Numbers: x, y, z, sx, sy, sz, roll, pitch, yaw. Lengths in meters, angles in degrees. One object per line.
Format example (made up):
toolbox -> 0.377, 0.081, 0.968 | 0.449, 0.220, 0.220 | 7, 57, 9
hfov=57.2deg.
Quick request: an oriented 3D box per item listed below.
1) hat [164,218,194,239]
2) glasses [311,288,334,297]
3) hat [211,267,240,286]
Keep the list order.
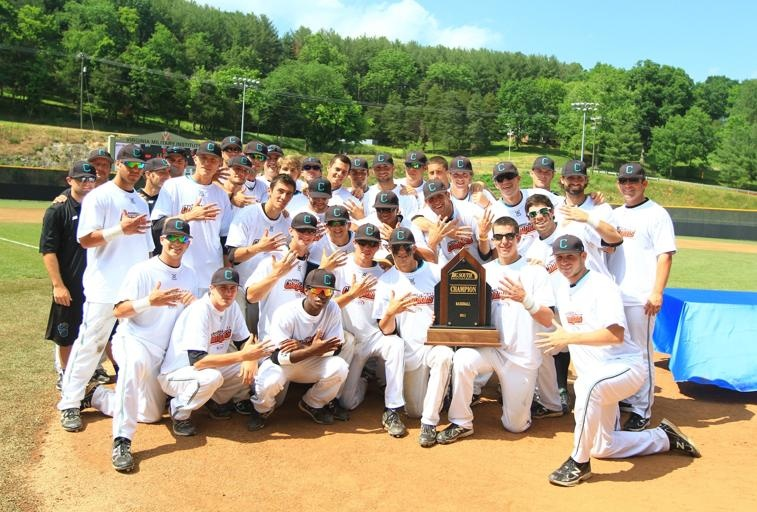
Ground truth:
hat -> -3.171, -0.442, 10.831 | 0.409, 0.284, 0.229 | 5, 9, 14
glasses -> -0.895, 0.573, 10.953 | 0.363, 0.167, 0.152 | 0, 10, -16
hat -> -2.383, 0.317, 10.696 | 0.407, 0.276, 0.239 | 1, 9, -12
